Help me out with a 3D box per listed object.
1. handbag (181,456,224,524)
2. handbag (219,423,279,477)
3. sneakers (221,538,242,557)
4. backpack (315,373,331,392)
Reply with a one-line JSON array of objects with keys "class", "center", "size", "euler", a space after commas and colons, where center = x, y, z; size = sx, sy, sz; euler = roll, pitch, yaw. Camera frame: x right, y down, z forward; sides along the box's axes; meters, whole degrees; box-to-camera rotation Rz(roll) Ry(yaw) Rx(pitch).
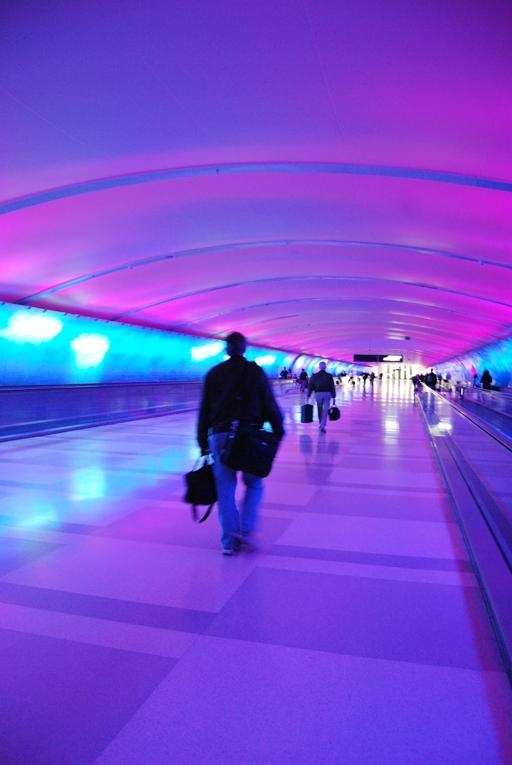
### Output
[{"class": "handbag", "center": [-0.429, 0.813, 4.510], "size": [0.212, 0.325, 0.354], "euler": [-4, -28, 34]}, {"class": "handbag", "center": [-0.052, 0.544, 4.209], "size": [0.419, 0.434, 0.169], "euler": [20, -3, 1]}, {"class": "sneakers", "center": [-0.210, 1.368, 4.464], "size": [0.070, 0.096, 0.241], "euler": [4, 6, 10]}, {"class": "backpack", "center": [1.741, -0.027, 13.752], "size": [0.462, 0.524, 0.309], "euler": [0, 1, 15]}]
